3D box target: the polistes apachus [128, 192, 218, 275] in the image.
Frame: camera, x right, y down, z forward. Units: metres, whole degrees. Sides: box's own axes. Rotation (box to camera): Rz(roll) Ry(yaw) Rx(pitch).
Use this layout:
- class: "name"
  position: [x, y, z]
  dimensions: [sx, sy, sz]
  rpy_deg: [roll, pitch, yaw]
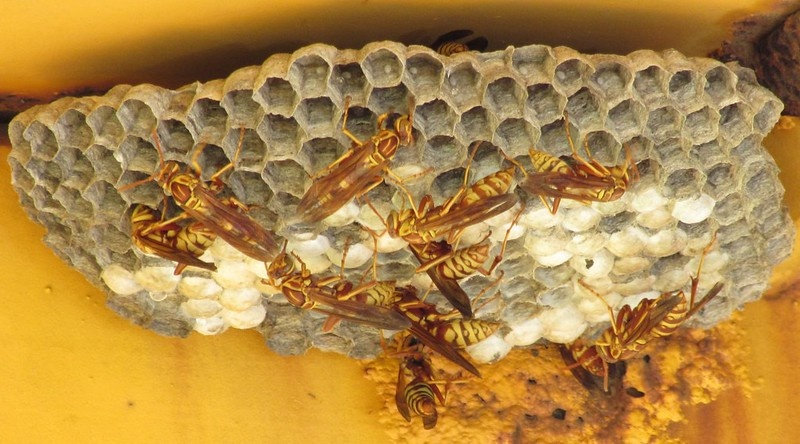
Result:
- class: "polistes apachus"
  position: [-1.565, 0.120, 6.725]
  dimensions: [0.679, 0.393, 0.177]
  rpy_deg: [19, 21, -5]

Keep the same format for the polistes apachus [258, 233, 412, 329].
- class: "polistes apachus"
  position: [-0.380, 0.418, 6.961]
  dimensions: [0.989, 0.630, 0.236]
  rpy_deg: [19, 63, -8]

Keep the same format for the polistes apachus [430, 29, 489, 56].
- class: "polistes apachus"
  position: [0.423, -1.298, 6.926]
  dimensions: [0.269, 0.094, 0.345]
  rpy_deg: [7, 12, 40]
